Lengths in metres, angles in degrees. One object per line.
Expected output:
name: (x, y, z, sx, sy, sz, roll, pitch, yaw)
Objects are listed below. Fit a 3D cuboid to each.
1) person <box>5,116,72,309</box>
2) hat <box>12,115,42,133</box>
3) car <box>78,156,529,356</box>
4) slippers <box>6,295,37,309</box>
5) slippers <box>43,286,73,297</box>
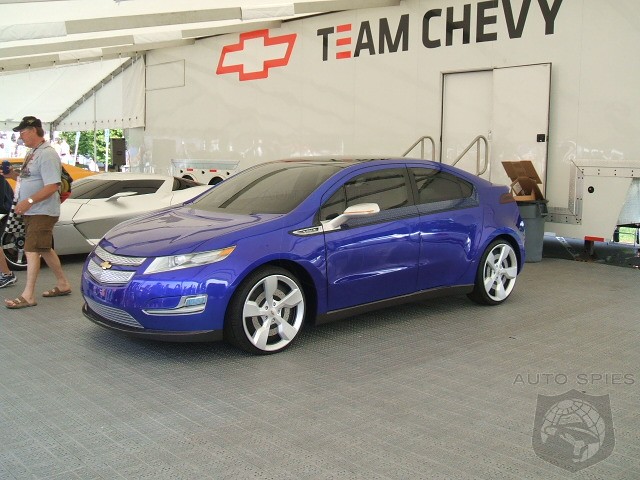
person: (-3.514, -0.373, 5.393, 0.608, 2.298, 0.741, -1, 8, -17)
hat: (-3.621, -1.435, 5.483, 0.397, 0.163, 0.239, 0, 6, -30)
car: (-0.004, 0.070, 4.740, 4.077, 1.091, 2.206, -2, 4, -33)
slippers: (-3.570, 0.750, 5.235, 0.274, 0.088, 0.150, 2, -1, -41)
slippers: (-3.432, 0.683, 5.753, 0.304, 0.094, 0.154, 1, 0, -23)
